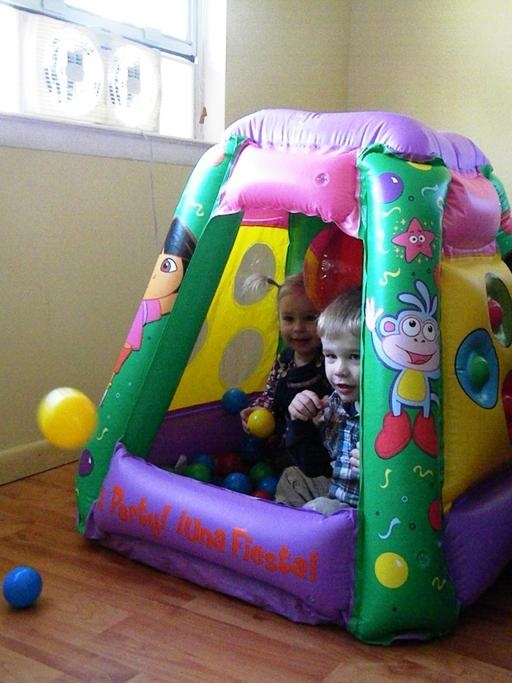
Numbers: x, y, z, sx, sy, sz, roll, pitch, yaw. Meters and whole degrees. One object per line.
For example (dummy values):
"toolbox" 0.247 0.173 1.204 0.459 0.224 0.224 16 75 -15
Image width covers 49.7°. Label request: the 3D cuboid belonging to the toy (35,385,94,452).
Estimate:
"toy" -0.303 0.122 0.911 0.101 0.116 0.098 -1 -3 8
